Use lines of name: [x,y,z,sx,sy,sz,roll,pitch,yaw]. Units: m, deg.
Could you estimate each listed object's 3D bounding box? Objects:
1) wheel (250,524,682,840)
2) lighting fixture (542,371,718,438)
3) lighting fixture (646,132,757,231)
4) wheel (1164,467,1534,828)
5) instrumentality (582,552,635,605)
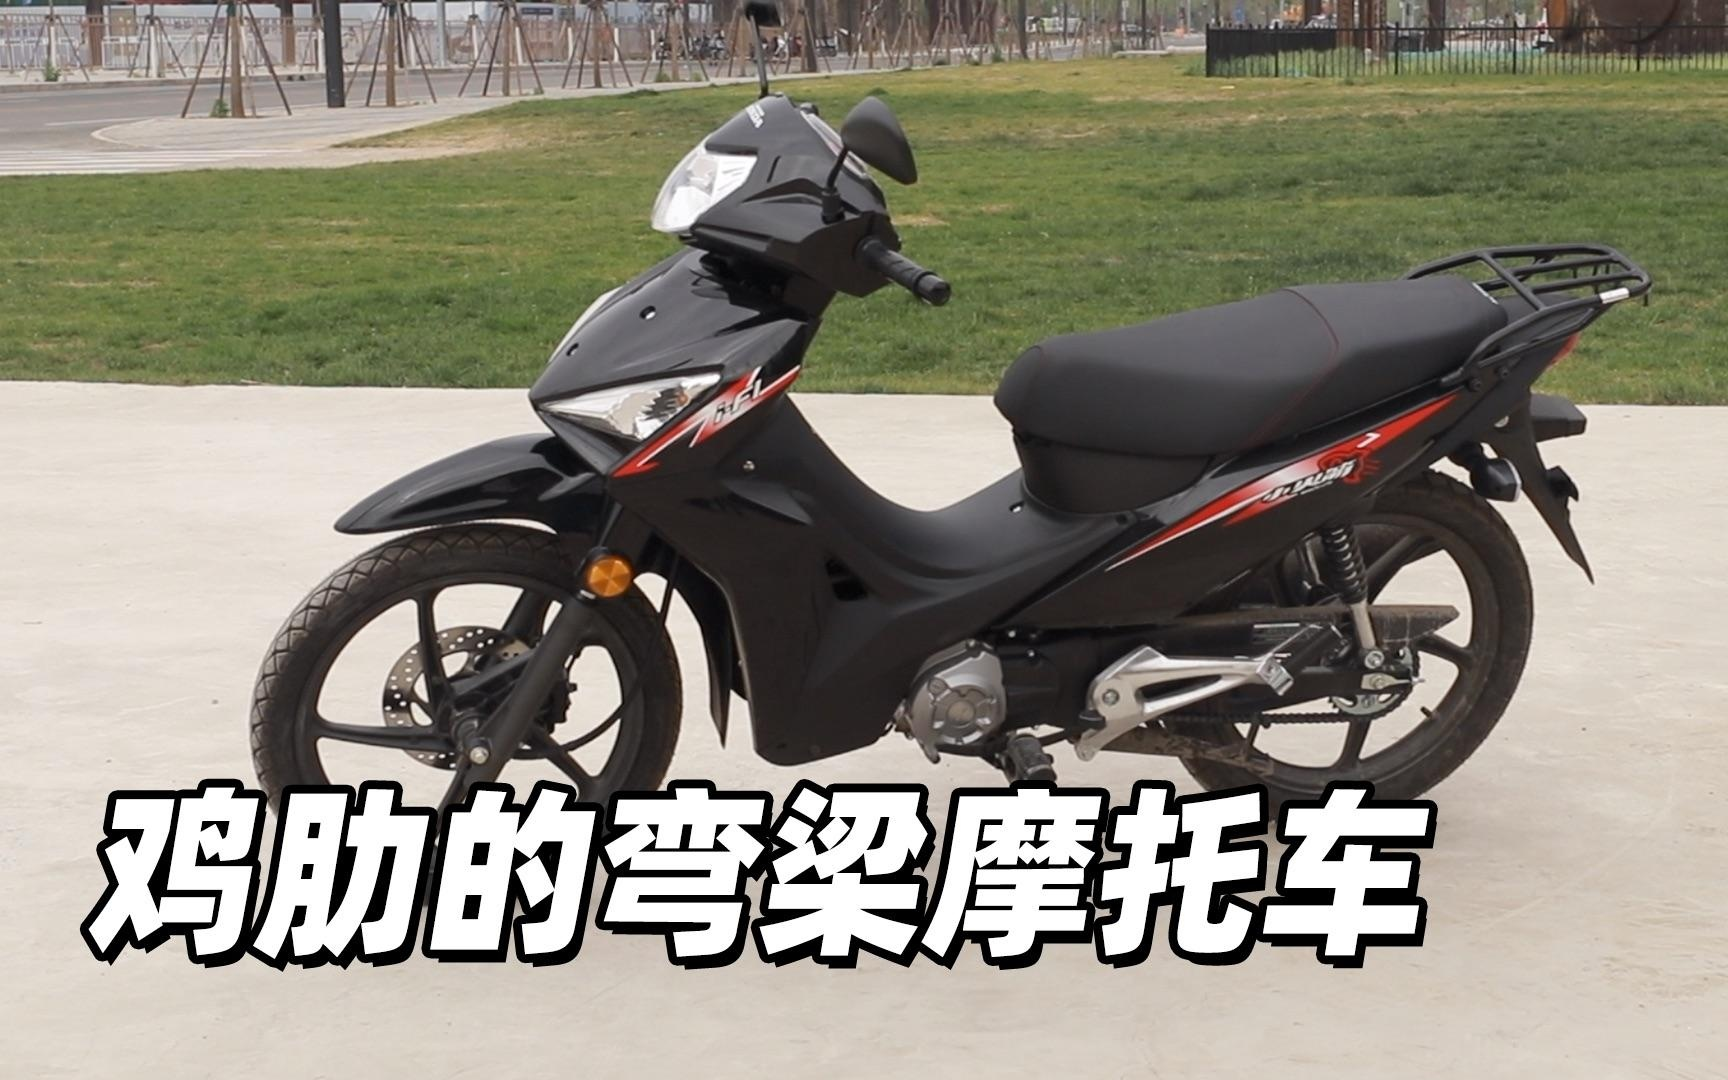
wheel: [-1.144,0.446,5.445,1.217,0.906,0.240,1,8,-5]
lighting fixture: [-0.627,-0.365,5.063,0.564,0.157,0.143,-1,23,-2]
lighting fixture: [-0.472,-0.975,5.177,0.274,0.244,0.190,14,23,38]
wheel: [1.410,0.322,5.516,1.315,0.987,0.198,-7,21,-5]
instrumentality: [-0.718,0.102,5.177,0.147,0.140,0.039,-2,19,-7]
